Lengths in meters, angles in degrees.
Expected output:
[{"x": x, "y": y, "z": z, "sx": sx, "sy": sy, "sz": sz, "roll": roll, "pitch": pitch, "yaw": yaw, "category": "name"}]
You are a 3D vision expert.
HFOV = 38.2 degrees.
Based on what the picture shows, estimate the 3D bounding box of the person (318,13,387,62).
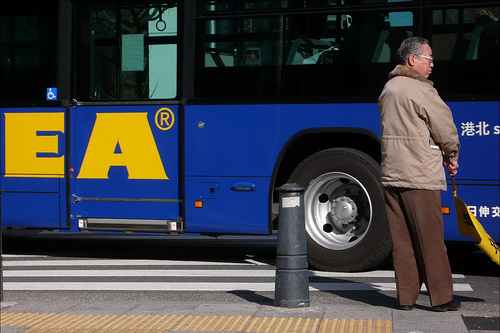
[{"x": 1.617, "y": -1.913, "z": 10.655, "sx": 0.758, "sy": 0.670, "sz": 0.215, "roll": 10, "pitch": 2, "yaw": 20, "category": "person"}]

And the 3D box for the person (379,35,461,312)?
[{"x": 1.981, "y": 0.081, "z": 8.414, "sx": 0.901, "sy": 3.178, "sz": 0.400, "roll": -1, "pitch": 2, "yaw": 10, "category": "person"}]
